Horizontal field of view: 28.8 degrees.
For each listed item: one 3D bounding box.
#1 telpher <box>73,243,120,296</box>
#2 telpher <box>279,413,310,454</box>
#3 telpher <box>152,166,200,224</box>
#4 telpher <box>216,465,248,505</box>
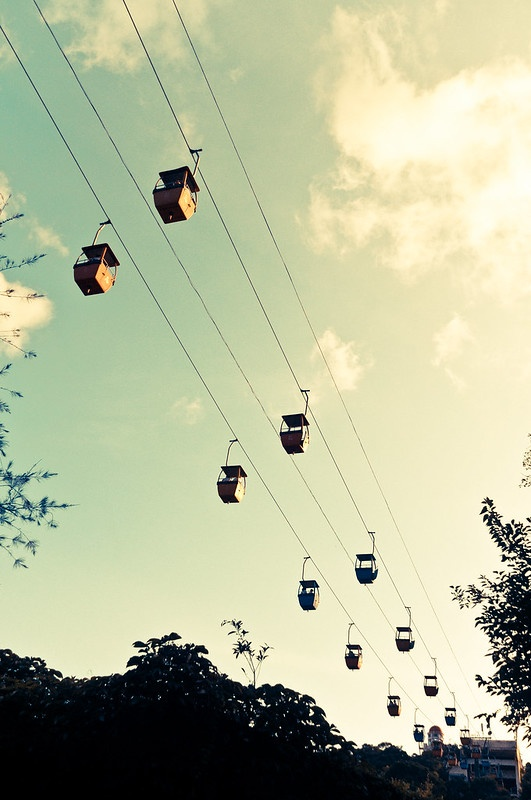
[{"bbox_3d":[-3.712,-2.872,22.903,0.863,1.089,0.947,8,-26,-8],"label":"telpher"},{"bbox_3d":[0.673,0.833,23.614,0.601,0.986,0.659,-8,-53,11],"label":"telpher"},{"bbox_3d":[-1.997,-4.554,22.962,0.914,1.449,0.721,11,-33,-12],"label":"telpher"},{"bbox_3d":[-0.898,2.247,27.375,0.669,1.250,0.980,7,-33,-5],"label":"telpher"}]
